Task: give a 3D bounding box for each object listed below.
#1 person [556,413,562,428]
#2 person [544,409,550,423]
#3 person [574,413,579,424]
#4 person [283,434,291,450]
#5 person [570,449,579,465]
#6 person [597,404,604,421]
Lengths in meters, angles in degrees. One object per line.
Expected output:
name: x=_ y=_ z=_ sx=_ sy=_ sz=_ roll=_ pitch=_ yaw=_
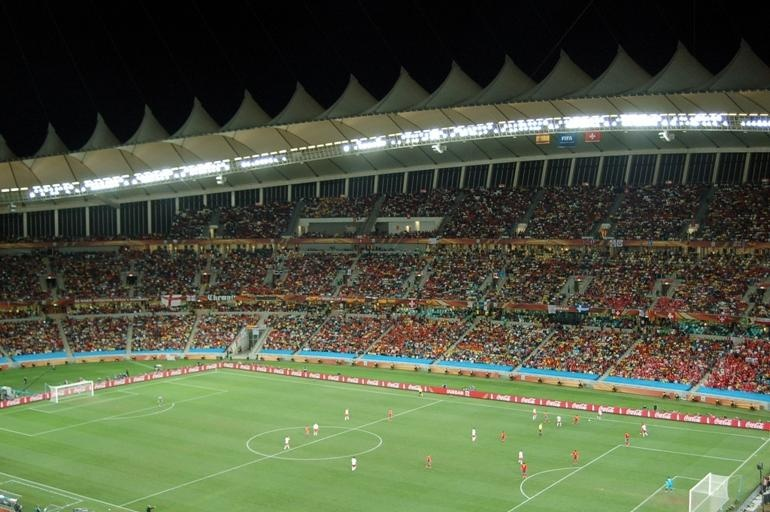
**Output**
person: x=19.235 y=18.027 z=81.367 sx=0.657 sy=1.352 sz=2.034 roll=-2 pitch=-15 yaw=14
person: x=18.345 y=18.006 z=83.567 sx=0.514 sy=0.990 sz=0.683 roll=6 pitch=0 yaw=-33
person: x=21.275 y=17.895 z=81.710 sx=0.542 sy=0.949 sz=2.065 roll=-2 pitch=-15 yaw=16
person: x=-10.065 y=19.263 z=76.902 sx=0.677 sy=1.284 sz=2.270 roll=4 pitch=-15 yaw=-7
person: x=18.710 y=19.556 z=72.505 sx=0.872 sy=1.201 sz=2.409 roll=-2 pitch=-15 yaw=14
person: x=24.414 y=17.518 z=83.640 sx=0.778 sy=1.412 sz=1.903 roll=-2 pitch=-15 yaw=15
